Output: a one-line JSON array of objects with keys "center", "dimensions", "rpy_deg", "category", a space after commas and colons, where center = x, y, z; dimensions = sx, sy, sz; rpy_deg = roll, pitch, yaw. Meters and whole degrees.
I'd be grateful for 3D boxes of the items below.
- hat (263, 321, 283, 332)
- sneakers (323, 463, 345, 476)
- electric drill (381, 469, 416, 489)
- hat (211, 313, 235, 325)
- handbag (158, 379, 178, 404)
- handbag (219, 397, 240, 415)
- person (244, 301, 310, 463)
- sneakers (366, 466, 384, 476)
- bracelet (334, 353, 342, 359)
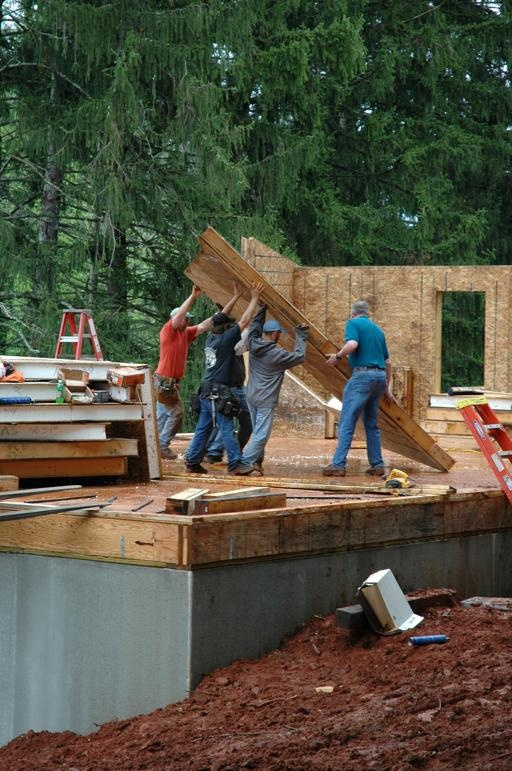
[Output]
[{"center": [0.147, -0.497, 7.420], "dimensions": [0.125, 0.069, 0.085], "rpy_deg": [-7, 15, -30], "category": "hat"}, {"center": [0.629, 0.695, 7.490], "dimensions": [0.210, 0.101, 0.082], "rpy_deg": [5, 2, 29], "category": "sneakers"}, {"center": [0.998, 0.671, 6.374], "dimensions": [0.161, 0.099, 0.161], "rpy_deg": [-5, -4, 22], "category": "electric drill"}, {"center": [-0.272, -0.575, 7.787], "dimensions": [0.161, 0.090, 0.092], "rpy_deg": [-13, 24, -10], "category": "hat"}, {"center": [-0.842, 0.054, 8.589], "dimensions": [0.159, 0.115, 0.197], "rpy_deg": [21, -34, 13], "category": "handbag"}, {"center": [-0.206, 0.172, 7.446], "dimensions": [0.128, 0.161, 0.159], "rpy_deg": [23, -36, -36], "category": "handbag"}, {"center": [0.149, -0.001, 7.597], "dimensions": [0.693, 1.363, 0.790], "rpy_deg": [-9, 9, -1], "category": "person"}, {"center": [1.018, 0.720, 7.646], "dimensions": [0.152, 0.072, 0.064], "rpy_deg": [-4, 3, -40], "category": "sneakers"}, {"center": [0.670, -0.236, 7.247], "dimensions": [0.047, 0.045, 0.015], "rpy_deg": [2, 14, -30], "category": "bracelet"}]
